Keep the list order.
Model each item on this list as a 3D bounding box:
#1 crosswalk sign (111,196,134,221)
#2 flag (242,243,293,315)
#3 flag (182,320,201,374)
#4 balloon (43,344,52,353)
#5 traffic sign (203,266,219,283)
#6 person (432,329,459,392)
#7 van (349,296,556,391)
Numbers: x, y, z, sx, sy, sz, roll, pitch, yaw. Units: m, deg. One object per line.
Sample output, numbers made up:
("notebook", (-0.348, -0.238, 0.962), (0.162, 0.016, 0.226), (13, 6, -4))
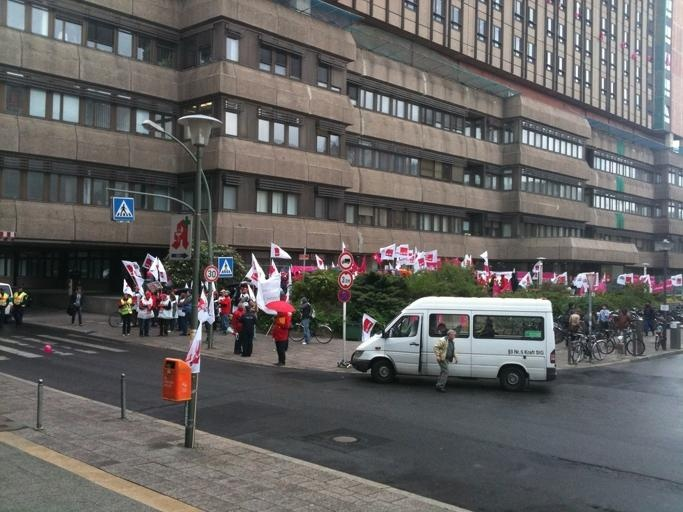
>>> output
("crosswalk sign", (-11.818, -2.479, 42.399), (0.483, 1.470, 1.347), (-5, -5, 43))
("flag", (-4.003, 1.210, 41.336), (3.310, 5.206, 1.363), (2, 10, 26))
("flag", (-4.180, 2.650, 22.308), (0.414, 2.043, 0.383), (5, -41, -12))
("balloon", (-12.300, 3.874, 32.879), (0.237, 0.250, 0.252), (-2, -8, 9))
("traffic sign", (-6.257, 0.867, 36.968), (0.169, 0.744, 0.727), (2, 0, 43))
("person", (3.737, 3.762, 28.479), (0.627, 2.203, 0.998), (-1, -6, 22))
("van", (4.349, 3.450, 30.414), (7.789, 3.421, 2.962), (1, -8, 13))
